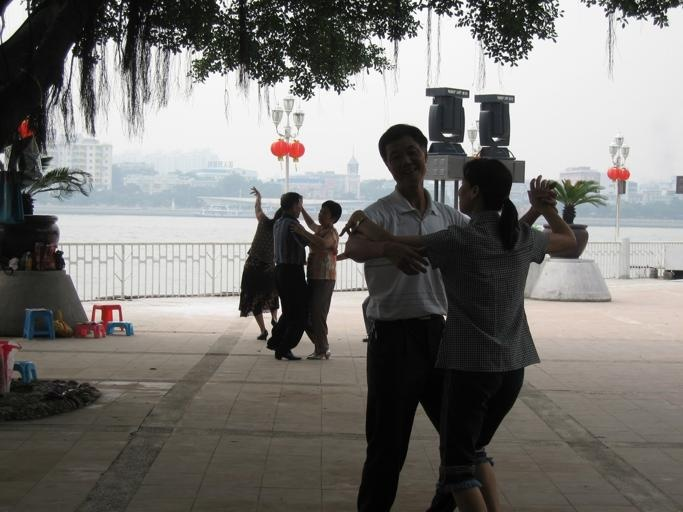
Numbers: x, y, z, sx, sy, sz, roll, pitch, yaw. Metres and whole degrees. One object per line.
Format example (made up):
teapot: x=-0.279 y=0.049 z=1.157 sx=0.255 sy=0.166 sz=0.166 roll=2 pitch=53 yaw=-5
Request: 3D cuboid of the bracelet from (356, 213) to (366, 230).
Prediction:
bracelet: x=0.106 y=-0.203 z=3.950 sx=0.042 sy=0.090 sz=0.065 roll=19 pitch=-21 yaw=6

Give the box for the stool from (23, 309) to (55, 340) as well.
stool: x=-4.403 y=0.969 z=9.894 sx=0.404 sy=0.430 sz=0.420 roll=1 pitch=-3 yaw=-26

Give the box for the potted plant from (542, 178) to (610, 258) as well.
potted plant: x=6.484 y=-1.037 z=19.136 sx=1.716 sy=2.290 sz=1.920 roll=-1 pitch=4 yaw=-25

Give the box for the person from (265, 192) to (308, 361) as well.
person: x=-0.676 y=0.249 z=8.642 sx=0.507 sy=2.128 sz=0.582 roll=0 pitch=2 yaw=-14

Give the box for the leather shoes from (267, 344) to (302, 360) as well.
leather shoes: x=-0.705 y=1.193 z=8.503 sx=0.437 sy=0.209 sz=0.171 roll=1 pitch=2 yaw=-1

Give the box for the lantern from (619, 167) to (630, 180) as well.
lantern: x=10.368 y=-2.941 z=24.902 sx=0.280 sy=0.442 sz=1.147 roll=2 pitch=3 yaw=26

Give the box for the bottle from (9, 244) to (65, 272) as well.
bottle: x=-4.609 y=0.051 z=10.397 sx=0.522 sy=0.310 sz=0.407 roll=-4 pitch=1 yaw=-12

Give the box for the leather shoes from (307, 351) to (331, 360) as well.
leather shoes: x=-0.280 y=1.269 z=8.599 sx=0.296 sy=0.138 sz=0.115 roll=3 pitch=-4 yaw=-1

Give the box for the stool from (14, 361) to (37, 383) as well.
stool: x=-3.245 y=1.167 z=7.011 sx=0.222 sy=0.238 sz=0.238 roll=1 pitch=-7 yaw=-2
